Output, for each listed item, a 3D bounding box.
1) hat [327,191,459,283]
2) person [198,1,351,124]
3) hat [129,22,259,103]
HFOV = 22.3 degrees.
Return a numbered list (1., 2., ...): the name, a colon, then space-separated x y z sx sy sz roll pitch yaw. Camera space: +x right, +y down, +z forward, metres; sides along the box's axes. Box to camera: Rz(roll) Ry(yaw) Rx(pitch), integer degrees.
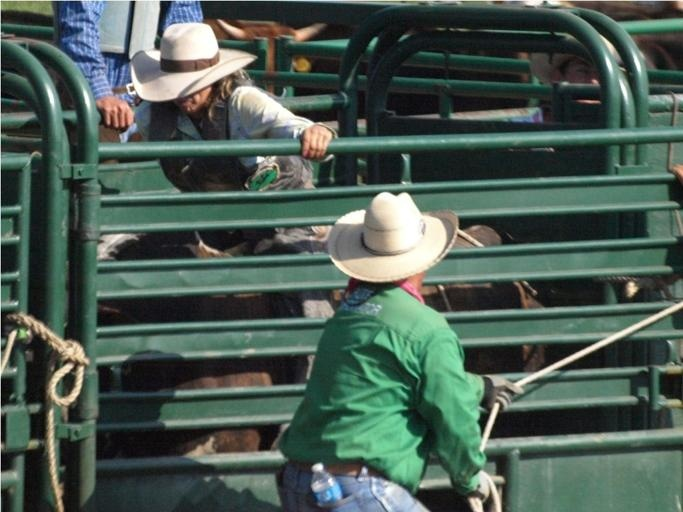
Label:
1. hat: 0.292 -0.142 10.139 0.669 0.602 0.236 -1 -45 14
2. person: -0.609 -2.107 16.826 1.392 2.045 0.523 -1 9 -4
3. hat: -0.999 -1.276 11.695 0.731 0.259 0.658 -28 20 -38
